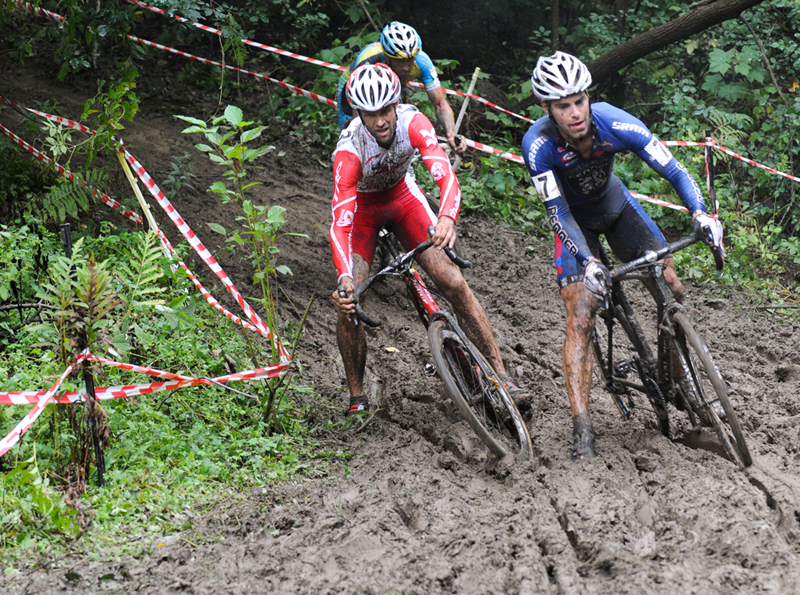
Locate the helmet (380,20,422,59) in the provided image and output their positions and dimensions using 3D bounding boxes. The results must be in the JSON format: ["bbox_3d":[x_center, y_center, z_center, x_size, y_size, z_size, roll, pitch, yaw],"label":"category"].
[{"bbox_3d":[0.004,-2.524,8.676,0.370,0.335,0.277,-6,19,-7],"label":"helmet"}]

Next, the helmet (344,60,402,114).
[{"bbox_3d":[-0.235,-1.719,7.166,0.420,0.239,0.620,-15,-26,5],"label":"helmet"}]

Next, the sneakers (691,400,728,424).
[{"bbox_3d":[2.396,0.887,6.836,0.203,0.230,0.080,-10,7,10],"label":"sneakers"}]

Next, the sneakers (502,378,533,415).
[{"bbox_3d":[1.019,0.870,7.686,0.131,0.347,0.201,-36,3,38],"label":"sneakers"}]

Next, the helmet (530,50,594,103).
[{"bbox_3d":[1.319,-1.795,7.224,0.455,0.377,0.282,1,19,12],"label":"helmet"}]
